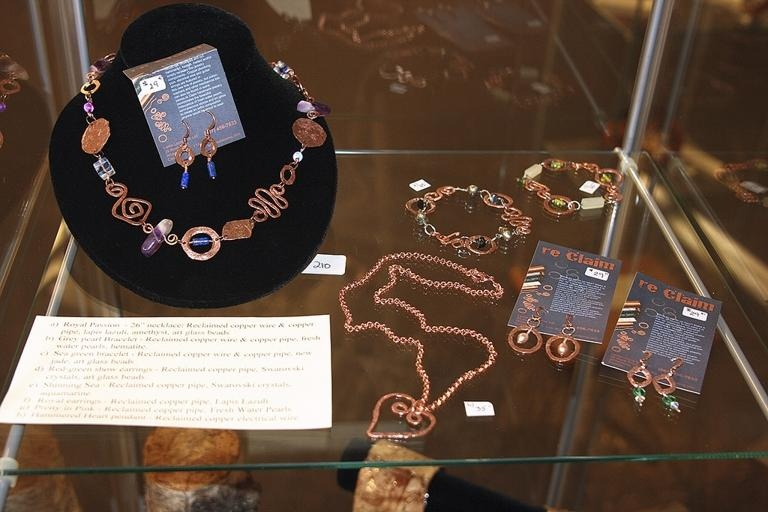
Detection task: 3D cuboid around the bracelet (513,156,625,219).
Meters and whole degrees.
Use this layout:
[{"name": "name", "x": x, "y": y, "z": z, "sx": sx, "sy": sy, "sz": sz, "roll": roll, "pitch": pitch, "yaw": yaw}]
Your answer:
[{"name": "bracelet", "x": 0.414, "y": -0.156, "z": 1.487, "sx": 0.159, "sy": 0.037, "sz": 0.150, "roll": 15, "pitch": 45, "yaw": 14}]

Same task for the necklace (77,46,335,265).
[{"name": "necklace", "x": -0.321, "y": -0.194, "z": 1.203, "sx": 0.438, "sy": 0.264, "sz": 0.301, "roll": -3, "pitch": 47, "yaw": -2}]
